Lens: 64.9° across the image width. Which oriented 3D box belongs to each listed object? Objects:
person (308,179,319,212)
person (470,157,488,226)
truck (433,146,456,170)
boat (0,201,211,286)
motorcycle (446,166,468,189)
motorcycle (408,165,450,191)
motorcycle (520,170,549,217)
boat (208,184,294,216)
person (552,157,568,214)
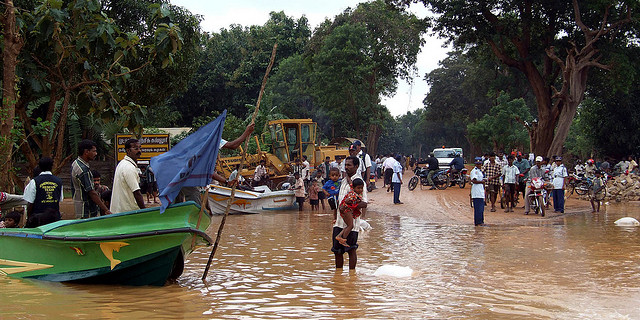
[{"bbox_3d":[-0.332,1.868,27.389,0.515,1.735,0.742,0,9,-2],"label":"person"},{"bbox_3d":[7.158,1.476,22.511,0.667,2.887,1.283,3,9,18],"label":"person"},{"bbox_3d":[10.615,-0.312,42.737,2.105,1.648,3.353,-2,-5,12],"label":"truck"},{"bbox_3d":[-6.708,2.531,15.570,5.451,1.499,2.726,1,-10,-2],"label":"boat"},{"bbox_3d":[9.178,1.143,33.097,1.130,1.031,1.825,-2,6,-22],"label":"motorcycle"},{"bbox_3d":[7.085,1.065,32.973,3.123,1.608,1.544,-1,0,40],"label":"motorcycle"},{"bbox_3d":[10.790,1.638,24.926,0.891,2.099,1.292,4,9,24],"label":"motorcycle"},{"bbox_3d":[-3.777,2.171,27.066,4.750,1.150,1.622,3,-2,-38],"label":"boat"},{"bbox_3d":[12.297,1.277,25.755,0.681,2.931,0.957,4,10,23],"label":"person"}]
